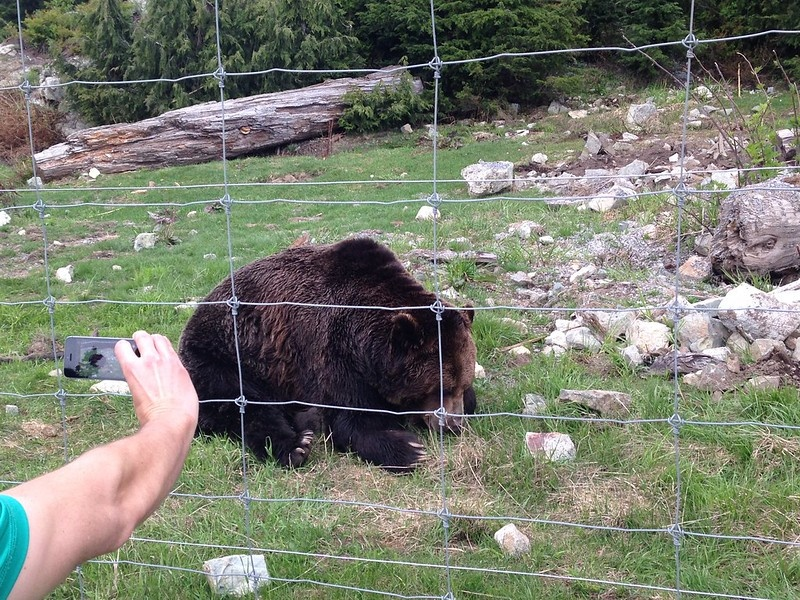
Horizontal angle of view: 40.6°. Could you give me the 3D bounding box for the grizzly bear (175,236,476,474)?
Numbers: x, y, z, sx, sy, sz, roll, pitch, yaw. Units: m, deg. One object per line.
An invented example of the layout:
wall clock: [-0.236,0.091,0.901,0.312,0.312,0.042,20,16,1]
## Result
grizzly bear: [-0.672,0.522,10.253,2.650,2.054,0.962,-4,10,4]
